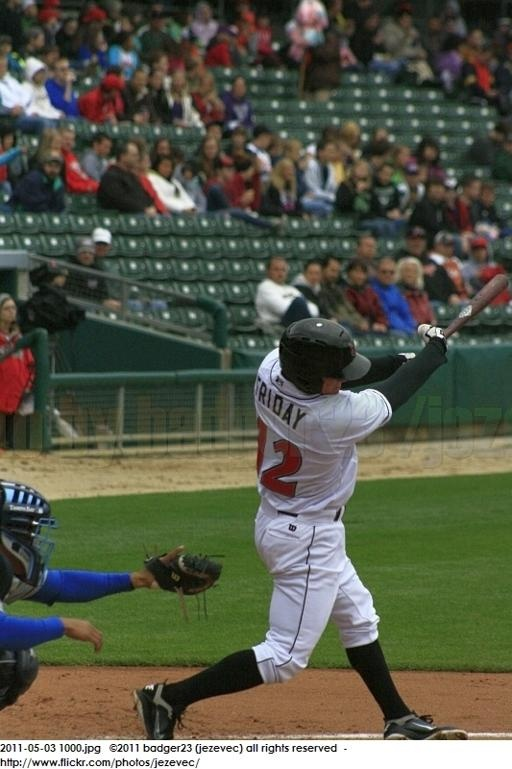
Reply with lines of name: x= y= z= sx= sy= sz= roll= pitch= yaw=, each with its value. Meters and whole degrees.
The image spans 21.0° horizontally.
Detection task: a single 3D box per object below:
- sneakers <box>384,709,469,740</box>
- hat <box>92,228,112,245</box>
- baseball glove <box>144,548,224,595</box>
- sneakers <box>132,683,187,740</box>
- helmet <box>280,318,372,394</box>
sneakers: x=0.545 y=1.136 z=4.520 sx=0.299 sy=0.116 sz=0.095 roll=-2 pitch=-43 yaw=6
hat: x=-1.141 y=-1.106 z=10.279 sx=0.125 sy=0.092 sz=0.179 roll=10 pitch=-1 yaw=-13
baseball glove: x=-0.245 y=0.625 z=4.661 sx=0.230 sy=0.087 sz=0.153 roll=6 pitch=-38 yaw=-6
sneakers: x=-0.310 y=1.077 z=4.540 sx=0.123 sy=0.249 sz=0.091 roll=-14 pitch=-4 yaw=13
helmet: x=0.224 y=-0.088 z=4.442 sx=0.305 sy=0.196 sz=0.183 roll=1 pitch=-46 yaw=3
